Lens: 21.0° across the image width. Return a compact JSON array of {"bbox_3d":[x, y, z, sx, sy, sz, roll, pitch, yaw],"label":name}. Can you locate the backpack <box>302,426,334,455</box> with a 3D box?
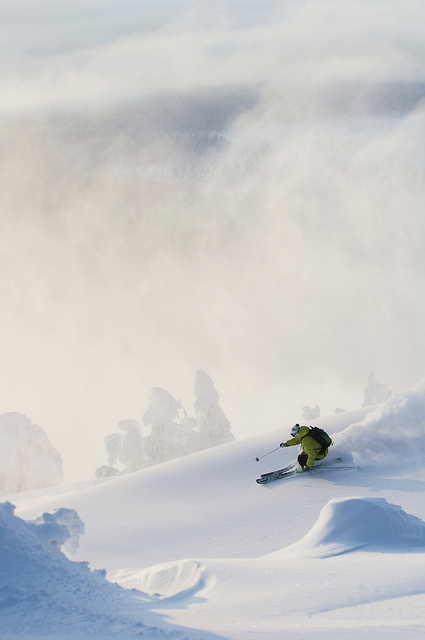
[{"bbox_3d":[1.909,2.120,19.978,0.316,0.340,0.641,-3,3,41],"label":"backpack"}]
